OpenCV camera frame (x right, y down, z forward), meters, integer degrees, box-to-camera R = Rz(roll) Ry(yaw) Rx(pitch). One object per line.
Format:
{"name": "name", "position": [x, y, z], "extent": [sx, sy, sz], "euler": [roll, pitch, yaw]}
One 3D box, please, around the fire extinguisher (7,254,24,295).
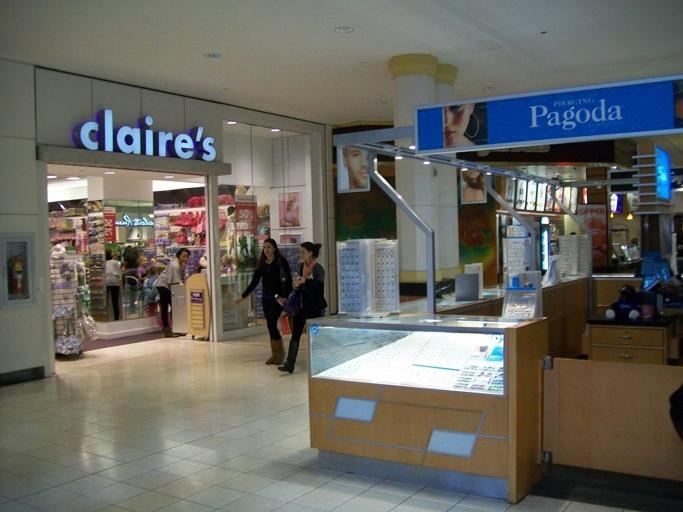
{"name": "fire extinguisher", "position": [-4.815, 0.295, 7.954], "extent": [0.220, 0.598, 0.065], "euler": [-4, 3, -35]}

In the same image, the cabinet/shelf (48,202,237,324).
{"name": "cabinet/shelf", "position": [-4.073, 0.198, 11.203], "extent": [2.695, 2.529, 1.377], "euler": [1, -1, -19]}

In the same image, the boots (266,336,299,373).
{"name": "boots", "position": [-0.854, 1.525, 8.073], "extent": [0.478, 0.485, 0.634], "euler": [4, -5, -40]}

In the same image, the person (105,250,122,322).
{"name": "person", "position": [-4.713, 0.598, 11.104], "extent": [0.322, 1.484, 0.236], "euler": [-3, 3, -26]}

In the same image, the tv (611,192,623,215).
{"name": "tv", "position": [9.582, -1.858, 18.621], "extent": [0.094, 0.952, 0.970], "euler": [2, 7, 38]}

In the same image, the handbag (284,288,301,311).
{"name": "handbag", "position": [-0.675, 0.605, 7.474], "extent": [0.139, 0.304, 0.248], "euler": [23, -10, -4]}

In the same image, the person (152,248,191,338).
{"name": "person", "position": [-3.559, 0.754, 11.240], "extent": [0.707, 1.825, 0.554], "euler": [-2, 3, 1]}

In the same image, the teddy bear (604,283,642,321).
{"name": "teddy bear", "position": [3.292, 0.533, 6.143], "extent": [0.396, 0.384, 0.345], "euler": [1, 2, 44]}

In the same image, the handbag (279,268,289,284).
{"name": "handbag", "position": [-0.821, 0.289, 7.756], "extent": [0.099, 0.172, 0.052], "euler": [-7, -15, 0]}

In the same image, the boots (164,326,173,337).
{"name": "boots", "position": [-3.615, 1.573, 11.191], "extent": [0.179, 0.194, 0.295], "euler": [-3, 3, -20]}
